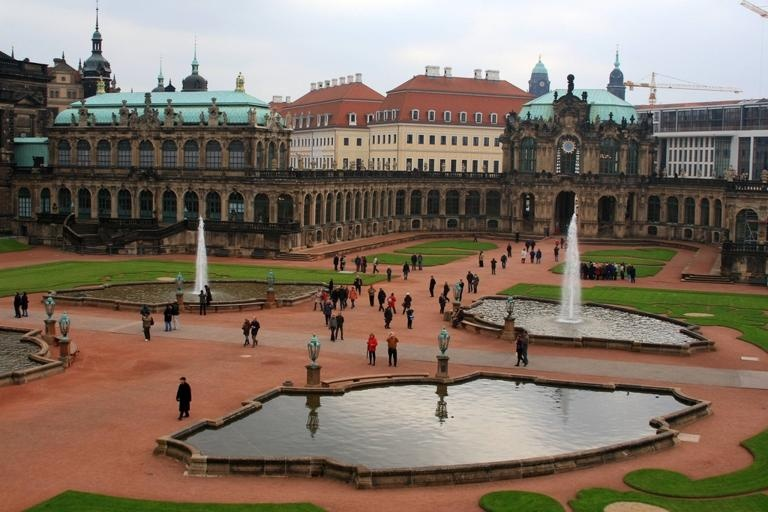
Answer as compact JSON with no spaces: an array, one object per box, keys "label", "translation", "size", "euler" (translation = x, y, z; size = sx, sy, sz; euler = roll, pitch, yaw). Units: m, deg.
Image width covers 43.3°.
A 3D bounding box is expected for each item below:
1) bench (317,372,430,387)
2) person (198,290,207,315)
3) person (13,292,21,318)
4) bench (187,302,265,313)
[{"label":"bench","translation":[-0.826,7.709,60.711],"size":[6.951,0.288,1.454],"euler":[-2,8,-19]},{"label":"person","translation":[-14.720,3.765,77.841],"size":[0.553,1.724,1.121],"euler":[-1,8,-11]},{"label":"person","translation":[-28.544,3.831,74.778],"size":[0.483,1.709,0.995],"euler":[-2,9,-20]},{"label":"bench","translation":[-12.915,4.131,78.823],"size":[6.122,0.709,1.108],"euler":[-1,8,-16]}]
